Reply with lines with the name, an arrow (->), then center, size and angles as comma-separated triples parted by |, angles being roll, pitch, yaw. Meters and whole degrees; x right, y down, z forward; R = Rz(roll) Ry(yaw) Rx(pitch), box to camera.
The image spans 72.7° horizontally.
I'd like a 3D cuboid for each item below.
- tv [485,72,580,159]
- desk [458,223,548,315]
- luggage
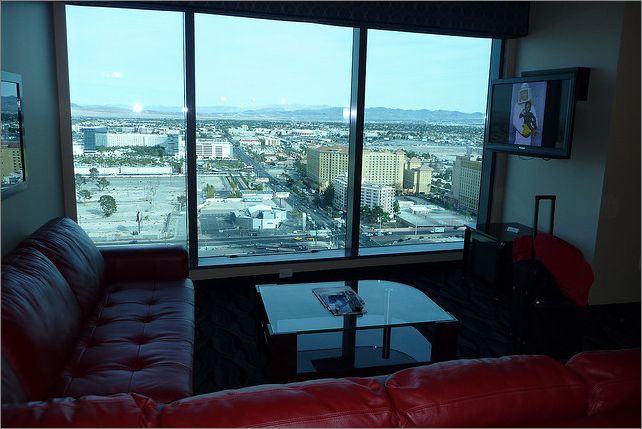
tv -> 2.236, -1.063, 4.692 | 0.128, 0.831, 1.171 | -7, 15, -19
desk -> 2.188, 0.465, 4.896 | 0.842, 0.670, 0.733 | -11, 17, -10
luggage -> 1.974, 0.494, 3.979 | 0.449, 1.506, 1.021 | -1, 0, 25
